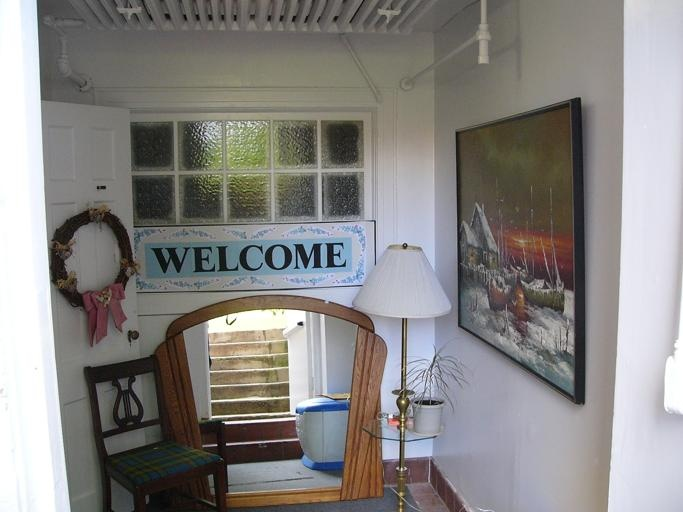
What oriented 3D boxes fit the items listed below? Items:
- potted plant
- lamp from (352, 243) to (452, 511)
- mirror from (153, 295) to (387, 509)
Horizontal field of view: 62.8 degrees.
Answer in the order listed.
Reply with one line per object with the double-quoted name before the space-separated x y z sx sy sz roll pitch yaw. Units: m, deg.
"potted plant" 0.517 0.819 3.307 0.399 0.458 0.372 2 -2 -29
"lamp" 0.390 0.846 3.487 0.501 1.999 0.494 -11 21 -25
"mirror" -0.491 0.934 3.530 1.214 1.204 0.028 -1 -1 -6
